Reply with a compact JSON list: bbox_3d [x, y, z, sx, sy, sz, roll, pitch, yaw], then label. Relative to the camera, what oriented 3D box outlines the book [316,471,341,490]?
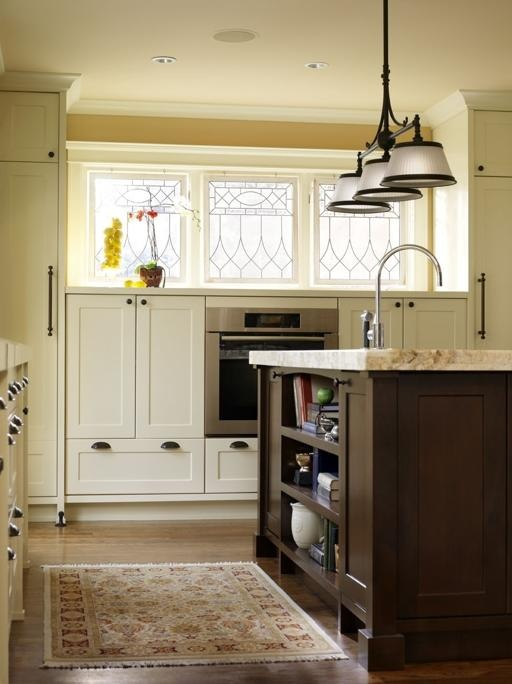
[{"bbox_3d":[0.257,0.489,2.274,0.070,0.016,0.069,1,2,-16],"label":"book"}]

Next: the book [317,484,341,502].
[{"bbox_3d":[0.258,0.526,2.264,0.076,0.018,0.075,1,-2,-4],"label":"book"}]

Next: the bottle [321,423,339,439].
[{"bbox_3d":[0.262,0.314,2.249,0.051,0.041,0.056,2,-5,-8],"label":"bottle"}]

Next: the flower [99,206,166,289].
[{"bbox_3d":[-0.815,-0.639,4.238,0.415,0.577,0.588,0,2,-11],"label":"flower"}]

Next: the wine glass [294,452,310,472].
[{"bbox_3d":[0.194,0.514,2.680,0.069,0.054,0.063,-2,-5,16],"label":"wine glass"}]

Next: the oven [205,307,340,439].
[{"bbox_3d":[0.028,0.173,3.355,0.813,0.774,0.383,0,-5,-6],"label":"oven"}]

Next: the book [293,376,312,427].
[{"bbox_3d":[0.196,0.250,2.705,0.042,0.171,0.172,1,-1,12],"label":"book"}]

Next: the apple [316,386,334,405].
[{"bbox_3d":[0.267,0.213,2.528,0.065,0.069,0.063,2,1,-6],"label":"apple"}]

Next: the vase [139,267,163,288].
[{"bbox_3d":[-0.671,-0.427,4.167,0.179,0.142,0.156,-1,2,-22],"label":"vase"}]

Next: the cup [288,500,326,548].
[{"bbox_3d":[0.175,0.711,2.518,0.163,0.195,0.158,-1,-3,0],"label":"cup"}]
